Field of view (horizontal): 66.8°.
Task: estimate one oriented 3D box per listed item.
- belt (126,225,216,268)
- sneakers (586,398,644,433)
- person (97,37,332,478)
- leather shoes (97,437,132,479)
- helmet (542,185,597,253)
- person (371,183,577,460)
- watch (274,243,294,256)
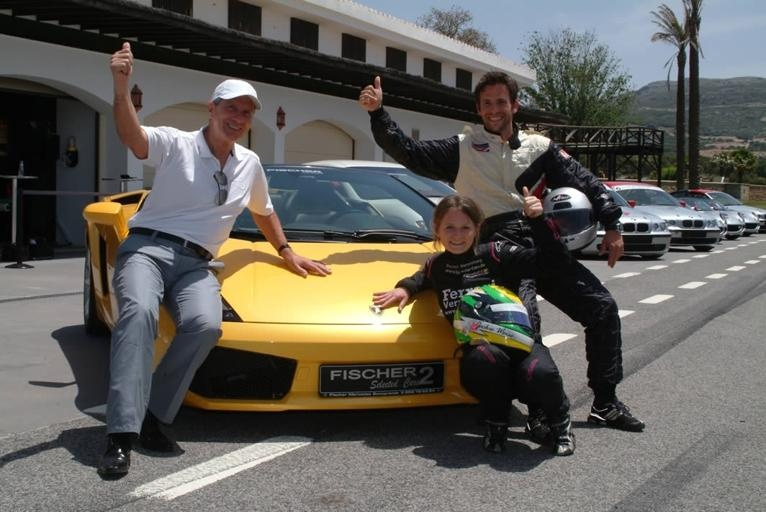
[{"bbox_3d":[-1.292,-0.109,3.583,0.295,0.110,0.273,33,11,23],"label":"belt"},{"bbox_3d":[1.522,1.064,3.915,0.400,0.186,0.151,4,1,22],"label":"sneakers"},{"bbox_3d":[-1.117,-0.054,3.439,0.860,2.303,0.890,-1,7,-18],"label":"person"},{"bbox_3d":[-1.389,1.056,3.053,0.157,0.197,0.154,-2,8,-27],"label":"leather shoes"},{"bbox_3d":[1.211,-0.241,3.900,0.331,0.366,0.441,-10,6,9],"label":"helmet"},{"bbox_3d":[0.601,0.387,3.611,1.111,1.513,0.606,1,7,-1],"label":"person"},{"bbox_3d":[-0.690,-0.044,4.141,0.049,0.066,0.113,-52,8,-22],"label":"watch"}]
